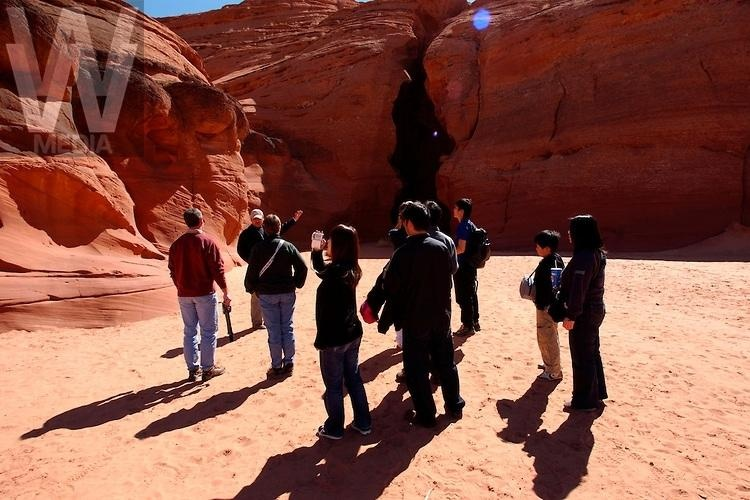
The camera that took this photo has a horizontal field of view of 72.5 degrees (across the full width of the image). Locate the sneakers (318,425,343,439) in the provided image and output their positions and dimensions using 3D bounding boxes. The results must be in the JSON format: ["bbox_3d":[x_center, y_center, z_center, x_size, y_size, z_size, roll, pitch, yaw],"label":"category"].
[{"bbox_3d":[-0.611,2.541,7.137,0.355,0.128,0.153,6,-1,15],"label":"sneakers"}]

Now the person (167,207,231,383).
[{"bbox_3d":[-2.756,0.731,8.115,0.847,2.778,0.476,-5,8,-13],"label":"person"}]

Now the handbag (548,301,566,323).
[{"bbox_3d":[2.617,0.884,7.275,0.280,0.248,0.066,-37,-21,36],"label":"handbag"}]

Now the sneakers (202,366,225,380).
[{"bbox_3d":[-2.622,1.994,8.384,0.140,0.146,0.393,9,12,43],"label":"sneakers"}]

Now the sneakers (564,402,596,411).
[{"bbox_3d":[2.970,2.287,7.400,0.438,0.153,0.151,2,-6,16],"label":"sneakers"}]

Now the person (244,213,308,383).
[{"bbox_3d":[-1.551,0.743,8.206,0.943,2.612,0.588,-4,8,-6],"label":"person"}]

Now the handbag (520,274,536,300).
[{"bbox_3d":[2.320,0.551,7.735,0.203,0.430,0.277,-1,7,13],"label":"handbag"}]

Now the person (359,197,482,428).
[{"bbox_3d":[0.588,0.909,7.141,1.309,3.133,0.427,-4,8,-6],"label":"person"}]

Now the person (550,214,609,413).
[{"bbox_3d":[2.968,0.910,7.294,0.761,2.791,0.439,-6,8,-26],"label":"person"}]

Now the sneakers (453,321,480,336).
[{"bbox_3d":[1.761,1.474,9.503,0.547,0.193,0.181,-4,1,-16],"label":"sneakers"}]

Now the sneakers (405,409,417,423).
[{"bbox_3d":[0.521,2.366,7.267,0.111,0.104,0.166,4,9,-5],"label":"sneakers"}]

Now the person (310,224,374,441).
[{"bbox_3d":[-0.475,1.146,6.936,0.740,2.956,0.348,-3,8,-3],"label":"person"}]
